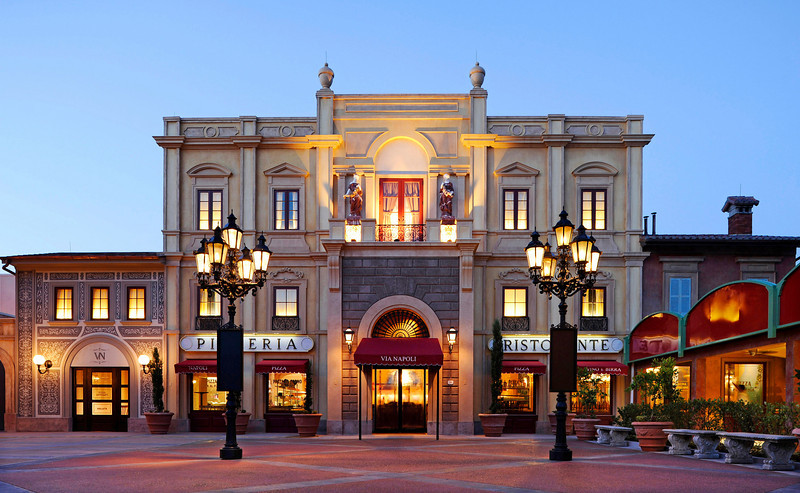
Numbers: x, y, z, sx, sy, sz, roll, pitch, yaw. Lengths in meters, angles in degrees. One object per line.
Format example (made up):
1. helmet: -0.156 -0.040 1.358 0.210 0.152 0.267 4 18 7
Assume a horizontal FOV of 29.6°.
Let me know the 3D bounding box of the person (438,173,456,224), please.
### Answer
1. person: 2.346 -2.415 77.313 0.779 2.570 0.900 -1 -8 2

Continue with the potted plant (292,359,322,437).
1. potted plant: -4.729 7.738 74.934 1.173 3.067 1.177 1 6 -17

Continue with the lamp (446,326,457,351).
1. lamp: 2.553 4.572 76.149 0.601 1.224 0.686 -1 -8 1

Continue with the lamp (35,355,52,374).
1. lamp: -18.542 6.008 77.763 0.767 1.211 0.947 -4 -12 13

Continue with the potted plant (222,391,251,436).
1. potted plant: -8.039 8.289 75.895 2.159 1.982 2.179 1 -13 -6

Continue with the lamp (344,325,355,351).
1. lamp: -2.646 4.595 76.109 0.558 1.151 1.057 0 -9 -2
